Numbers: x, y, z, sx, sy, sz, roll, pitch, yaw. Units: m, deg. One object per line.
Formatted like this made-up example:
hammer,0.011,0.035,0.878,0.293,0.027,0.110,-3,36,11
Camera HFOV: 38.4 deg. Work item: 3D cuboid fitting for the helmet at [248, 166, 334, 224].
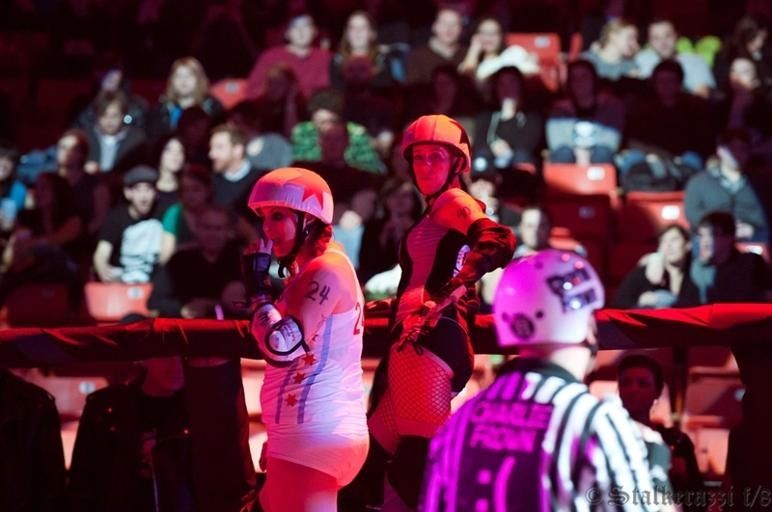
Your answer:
helmet,-0.831,-0.542,10.275,0.646,0.512,0.502,26,-12,-29
